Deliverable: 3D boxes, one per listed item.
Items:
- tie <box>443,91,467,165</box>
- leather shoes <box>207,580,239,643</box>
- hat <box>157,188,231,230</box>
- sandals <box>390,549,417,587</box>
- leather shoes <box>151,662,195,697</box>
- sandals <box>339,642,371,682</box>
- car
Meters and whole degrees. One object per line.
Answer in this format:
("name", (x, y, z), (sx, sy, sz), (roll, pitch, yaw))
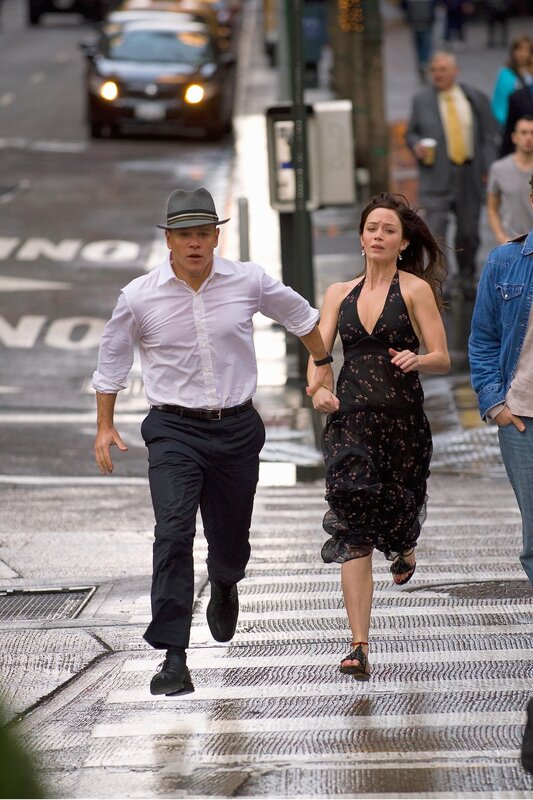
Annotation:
("tie", (1.922, -2.705, 11.903), (0.229, 0.755, 0.072), (-2, 31, 8))
("leather shoes", (-0.169, 0.846, 4.711), (0.102, 0.253, 0.108), (-1, 4, -4))
("hat", (-0.278, -0.697, 4.441), (0.203, 0.166, 0.324), (-6, 28, -2))
("sandals", (0.633, 0.764, 5.314), (0.108, 0.053, 0.206), (-2, 60, 20))
("leather shoes", (-0.307, 0.907, 3.850), (0.079, 0.077, 0.184), (-3, -13, 8))
("sandals", (0.321, 0.951, 4.231), (0.109, 0.146, 0.165), (-5, 29, 3))
("car", (-1.980, -5.889, 22.624), (2.734, 2.372, 3.106), (-5, 28, 1))
